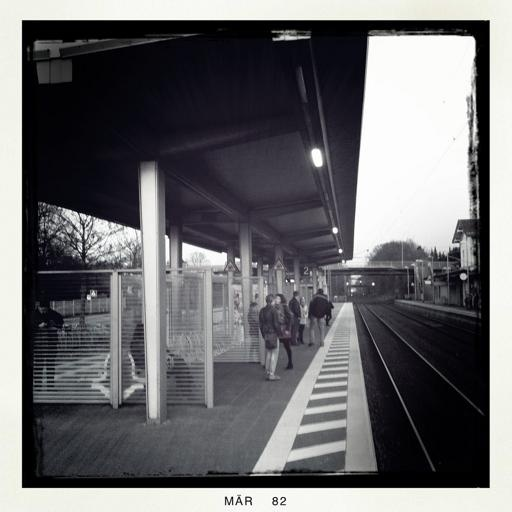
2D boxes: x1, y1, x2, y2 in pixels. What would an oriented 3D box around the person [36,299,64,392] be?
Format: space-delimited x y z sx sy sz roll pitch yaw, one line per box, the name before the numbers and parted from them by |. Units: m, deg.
person | -3.686 1.499 8.349 0.656 1.573 0.453 -3 -3 35
